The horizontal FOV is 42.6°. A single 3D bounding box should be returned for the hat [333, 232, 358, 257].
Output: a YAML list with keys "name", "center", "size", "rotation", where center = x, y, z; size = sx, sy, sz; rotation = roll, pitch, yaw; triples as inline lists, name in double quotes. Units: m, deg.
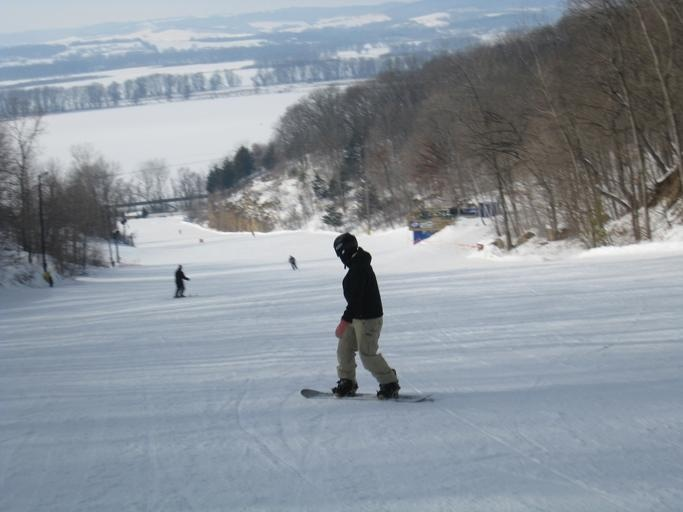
- name: "hat"
  center: [0.295, -0.277, 19.213]
  size: [0.617, 0.525, 0.452]
  rotation: [1, 0, 8]
